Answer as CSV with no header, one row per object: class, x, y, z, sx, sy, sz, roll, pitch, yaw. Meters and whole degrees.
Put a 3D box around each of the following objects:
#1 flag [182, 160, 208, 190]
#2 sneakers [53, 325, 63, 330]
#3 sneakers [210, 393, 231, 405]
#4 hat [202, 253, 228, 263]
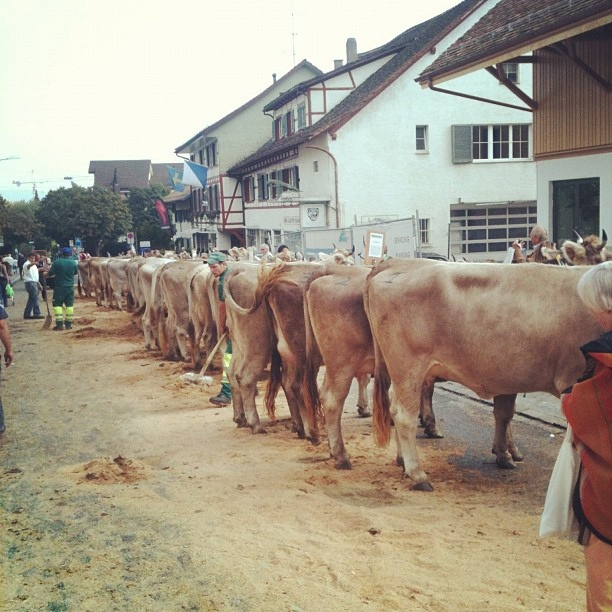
flag,-5.519,-6.539,36.714,1.151,1.422,2.200,-3,6,-9
sneakers,-6.436,0.543,19.370,0.273,0.138,0.423,-4,6,-19
sneakers,-1.152,1.259,10.018,0.250,0.109,0.135,6,0,-7
hat,-1.144,-0.608,9.446,0.138,0.097,0.211,-1,-1,40
